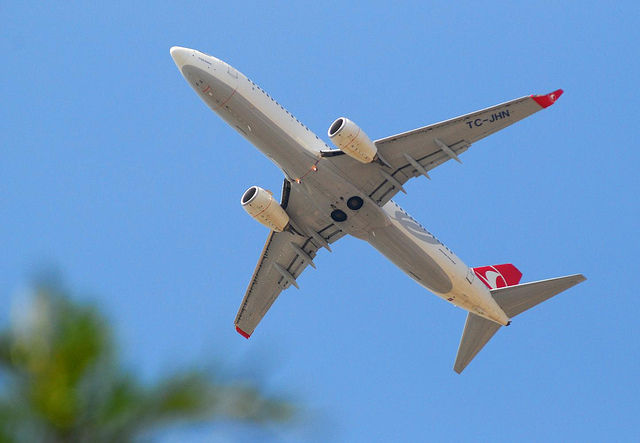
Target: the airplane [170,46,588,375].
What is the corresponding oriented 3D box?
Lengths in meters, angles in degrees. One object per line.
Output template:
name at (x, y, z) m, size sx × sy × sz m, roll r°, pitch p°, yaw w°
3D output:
airplane at (2.553, -0.282, 36.218) m, size 14.393 × 4.378 × 11.007 m, roll 11°, pitch -50°, yaw 4°
